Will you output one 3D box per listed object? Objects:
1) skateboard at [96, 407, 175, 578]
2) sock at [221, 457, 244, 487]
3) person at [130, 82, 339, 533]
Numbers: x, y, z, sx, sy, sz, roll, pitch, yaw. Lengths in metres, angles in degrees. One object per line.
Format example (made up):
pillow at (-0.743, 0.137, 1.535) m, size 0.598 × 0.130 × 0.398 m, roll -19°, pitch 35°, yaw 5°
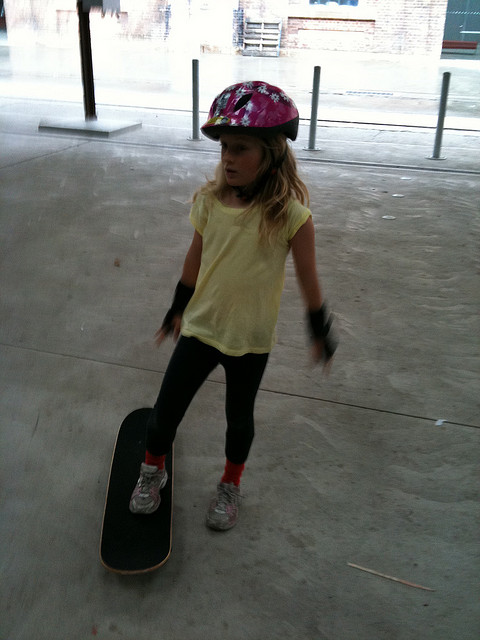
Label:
skateboard at (-0.347, 0.565, 1.655) m, size 0.207 × 0.766 × 0.110 m, roll 5°, pitch 31°, yaw -12°
sock at (-0.033, 0.513, 1.703) m, size 0.069 × 0.141 × 0.055 m, roll 2°, pitch 26°, yaw -2°
person at (0.005, 0.031, 1.519) m, size 0.576 × 1.365 × 0.318 m, roll 4°, pitch 26°, yaw 2°
